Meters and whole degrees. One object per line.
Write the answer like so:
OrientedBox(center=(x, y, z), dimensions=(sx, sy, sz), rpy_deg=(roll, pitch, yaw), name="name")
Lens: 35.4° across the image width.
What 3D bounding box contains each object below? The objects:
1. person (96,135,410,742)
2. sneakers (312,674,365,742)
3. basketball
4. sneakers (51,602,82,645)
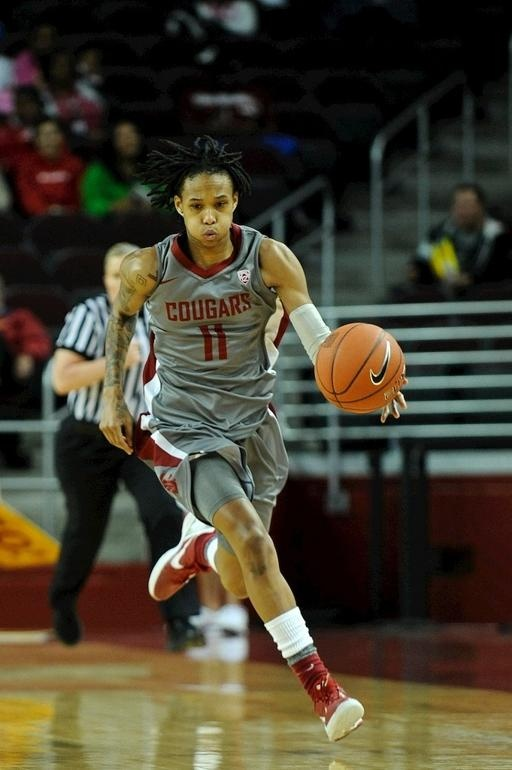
OrientedBox(center=(-0.063, 0.029, 2.146), dimensions=(0.527, 1.451, 1.058), rpy_deg=(-3, 2, -26), name="person")
OrientedBox(center=(0.171, 0.686, 1.684), dimensions=(0.070, 0.121, 0.179), rpy_deg=(-27, -12, -24), name="sneakers")
OrientedBox(center=(0.269, -0.043, 2.012), dimensions=(0.224, 0.233, 0.192), rpy_deg=(-2, 2, -12), name="basketball")
OrientedBox(center=(-0.758, 0.946, 3.198), dimensions=(0.110, 0.164, 0.068), rpy_deg=(2, -22, -36), name="sneakers")
